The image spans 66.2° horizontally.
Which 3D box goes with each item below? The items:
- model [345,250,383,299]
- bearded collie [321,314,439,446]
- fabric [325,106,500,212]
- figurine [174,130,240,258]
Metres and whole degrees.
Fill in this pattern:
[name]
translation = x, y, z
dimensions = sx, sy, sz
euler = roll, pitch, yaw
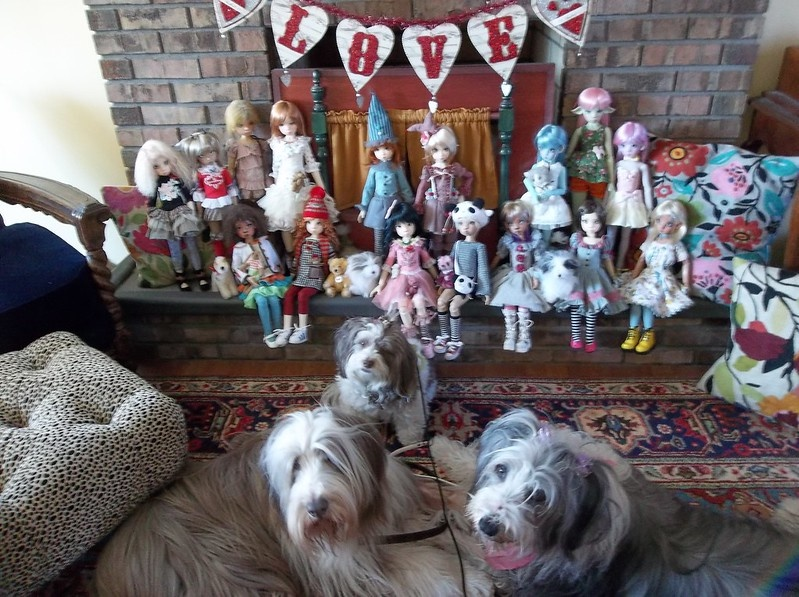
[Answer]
[model]
translation = -0.191, -0.120, 3.002
dimensions = 0.245, 0.190, 0.182
euler = -5, 17, -29
[bearded collie]
translation = 0.071, 0.284, 2.586
dimensions = 0.624, 0.466, 0.604
euler = 3, 34, 5
[fabric]
translation = 0.090, -0.700, 3.010
dimensions = 1.117, 0.501, 0.102
euler = -2, 47, 6
[figurine]
translation = -0.907, -0.508, 2.997
dimensions = 0.240, 0.580, 0.409
euler = -11, 31, -15
